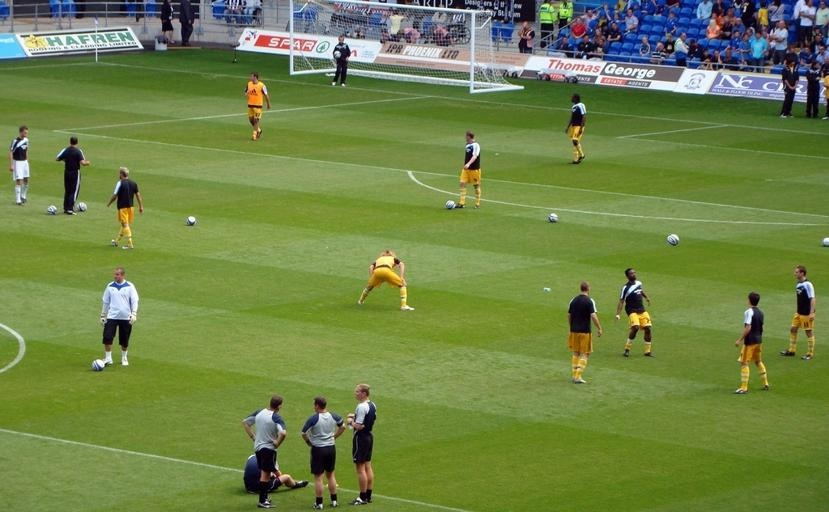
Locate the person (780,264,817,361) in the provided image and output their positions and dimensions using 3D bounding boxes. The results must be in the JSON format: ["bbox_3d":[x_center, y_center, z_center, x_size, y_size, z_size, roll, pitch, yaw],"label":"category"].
[{"bbox_3d":[11.597,1.670,48.100,1.039,2.737,1.111,-2,4,-31],"label":"person"}]

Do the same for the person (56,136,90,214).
[{"bbox_3d":[-12.200,-2.928,57.752,1.325,2.723,0.994,8,8,27],"label":"person"}]

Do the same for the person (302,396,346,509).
[{"bbox_3d":[-2.368,5.066,41.268,1.024,2.857,0.699,3,13,-2],"label":"person"}]

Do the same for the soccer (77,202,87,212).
[{"bbox_3d":[-11.984,-1.825,58.085,0.295,0.320,0.339,8,-18,-17],"label":"soccer"}]

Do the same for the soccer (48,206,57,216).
[{"bbox_3d":[-13.031,-1.656,57.841,0.281,0.299,0.336,27,7,2],"label":"soccer"}]

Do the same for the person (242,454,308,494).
[{"bbox_3d":[-3.567,5.743,42.073,1.622,0.770,0.907,-1,4,-34],"label":"person"}]

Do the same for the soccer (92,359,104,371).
[{"bbox_3d":[-9.122,3.148,46.612,0.274,0.304,0.345,6,16,40],"label":"soccer"}]

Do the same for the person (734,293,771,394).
[{"bbox_3d":[9.588,2.454,46.060,0.961,2.811,1.176,1,1,41],"label":"person"}]

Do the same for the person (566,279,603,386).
[{"bbox_3d":[5.022,2.288,46.548,1.110,2.811,1.095,1,0,-7],"label":"person"}]

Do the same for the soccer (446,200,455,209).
[{"bbox_3d":[1.333,-1.932,59.459,0.363,0.277,0.705,3,12,0],"label":"soccer"}]

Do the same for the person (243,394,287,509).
[{"bbox_3d":[-3.877,4.999,41.509,1.009,2.839,1.058,2,13,-6],"label":"person"}]

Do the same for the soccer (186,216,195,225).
[{"bbox_3d":[-7.870,-1.253,56.706,0.295,0.265,0.326,18,17,-4],"label":"soccer"}]

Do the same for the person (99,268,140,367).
[{"bbox_3d":[-8.548,1.755,46.655,1.216,2.734,0.937,1,2,-1],"label":"person"}]

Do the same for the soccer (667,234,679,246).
[{"bbox_3d":[8.951,-0.578,55.820,0.393,0.341,0.589,5,12,6],"label":"soccer"}]
